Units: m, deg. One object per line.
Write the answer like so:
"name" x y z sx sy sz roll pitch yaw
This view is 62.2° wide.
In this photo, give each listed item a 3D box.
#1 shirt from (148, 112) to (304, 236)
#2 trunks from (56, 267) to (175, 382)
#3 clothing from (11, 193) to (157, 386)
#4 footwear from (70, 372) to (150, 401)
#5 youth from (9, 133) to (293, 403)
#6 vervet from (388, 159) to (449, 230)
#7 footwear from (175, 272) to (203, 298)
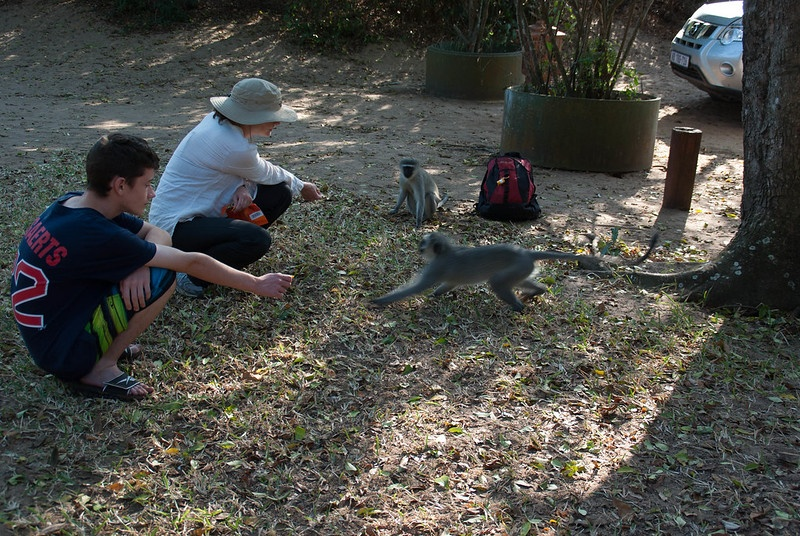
"shirt" -1.556 -0.888 5.950 1.485 1.107 0.801 -18 36 -40
"trunks" -1.963 0.381 4.662 0.292 0.905 0.543 40 -6 -13
"clothing" -2.141 0.108 4.784 0.751 1.146 1.092 19 21 36
"footwear" -1.990 0.850 4.600 0.492 0.174 0.195 2 12 -8
"youth" -1.818 -0.163 5.140 2.012 1.802 1.188 -1 36 -43
"vervet" 0.117 -0.803 7.188 0.474 0.593 0.620 12 34 23
"footwear" -1.779 0.143 5.609 0.174 0.095 0.233 13 -6 7
